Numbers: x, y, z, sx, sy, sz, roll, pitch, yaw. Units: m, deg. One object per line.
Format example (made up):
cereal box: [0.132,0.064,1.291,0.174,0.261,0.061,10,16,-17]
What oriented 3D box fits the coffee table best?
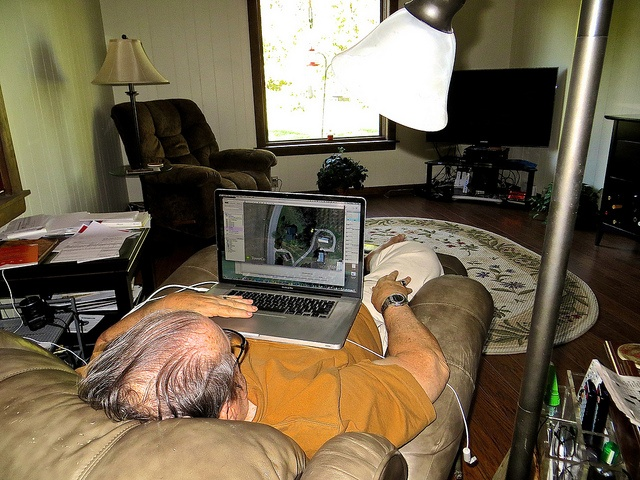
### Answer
coffee table: [-1.420,-0.392,3.477,0.341,0.379,0.340,-20,-12,33]

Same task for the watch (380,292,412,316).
watch: [0.250,0.201,1.421,0.083,0.084,0.055,-2,60,-4]

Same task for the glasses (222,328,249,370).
glasses: [-0.211,0.284,1.113,0.030,0.096,0.088,9,-4,-41]

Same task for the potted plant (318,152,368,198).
potted plant: [0.266,-0.796,4.872,0.484,0.500,0.496,15,33,19]

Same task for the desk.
desk: [-1.049,0.226,1.943,0.500,0.513,0.401,-3,22,-3]

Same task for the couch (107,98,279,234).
couch: [-1.166,-0.762,4.223,1.150,1.139,1.252,14,24,29]

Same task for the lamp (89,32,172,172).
lamp: [-1.548,-1.155,3.595,0.555,1.034,0.681,-6,20,-19]
